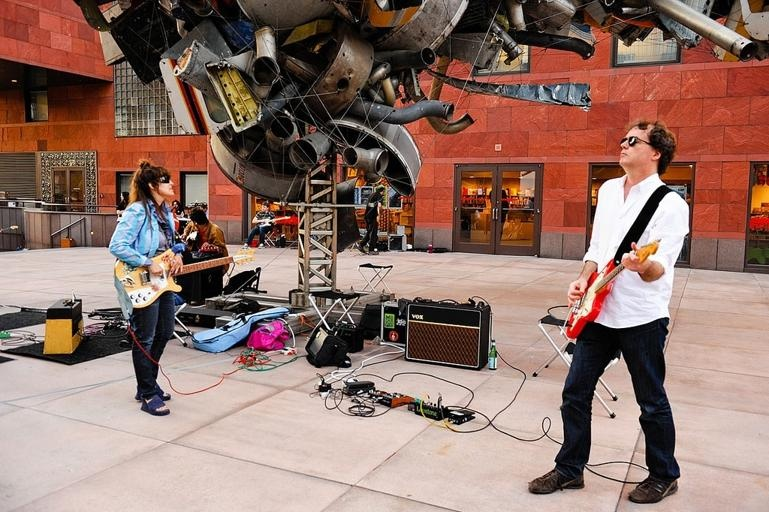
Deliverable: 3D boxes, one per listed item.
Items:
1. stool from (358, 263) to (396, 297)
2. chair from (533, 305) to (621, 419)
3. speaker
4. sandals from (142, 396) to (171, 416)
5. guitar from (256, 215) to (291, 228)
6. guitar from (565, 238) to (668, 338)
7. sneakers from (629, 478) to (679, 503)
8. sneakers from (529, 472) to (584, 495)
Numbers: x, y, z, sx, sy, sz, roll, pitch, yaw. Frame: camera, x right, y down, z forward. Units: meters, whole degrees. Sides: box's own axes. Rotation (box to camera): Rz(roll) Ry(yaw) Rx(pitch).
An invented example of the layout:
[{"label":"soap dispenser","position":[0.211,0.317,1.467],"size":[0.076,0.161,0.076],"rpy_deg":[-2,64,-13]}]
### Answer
[{"label":"stool","position":[-0.215,0.579,13.376],"size":[0.775,0.787,0.762],"rpy_deg":[0,-4,6]},{"label":"chair","position":[2.631,1.294,7.903],"size":[1.657,1.058,0.904],"rpy_deg":[3,4,42]},{"label":"speaker","position":[0.887,1.151,7.760],"size":[1.002,0.906,0.514],"rpy_deg":[3,2,24]},{"label":"sandals","position":[-2.578,1.698,6.158],"size":[0.386,0.150,0.157],"rpy_deg":[-2,0,43]},{"label":"guitar","position":[-4.499,-1.428,22.403],"size":[1.508,0.488,1.894],"rpy_deg":[-1,9,-14]},{"label":"guitar","position":[2.005,0.295,4.663],"size":[0.213,1.332,0.577],"rpy_deg":[30,47,-4]},{"label":"sneakers","position":[2.316,2.038,4.790],"size":[0.467,0.191,0.179],"rpy_deg":[-4,-4,-25]},{"label":"sneakers","position":[1.533,2.015,4.910],"size":[0.454,0.170,0.199],"rpy_deg":[2,-1,-6]}]
